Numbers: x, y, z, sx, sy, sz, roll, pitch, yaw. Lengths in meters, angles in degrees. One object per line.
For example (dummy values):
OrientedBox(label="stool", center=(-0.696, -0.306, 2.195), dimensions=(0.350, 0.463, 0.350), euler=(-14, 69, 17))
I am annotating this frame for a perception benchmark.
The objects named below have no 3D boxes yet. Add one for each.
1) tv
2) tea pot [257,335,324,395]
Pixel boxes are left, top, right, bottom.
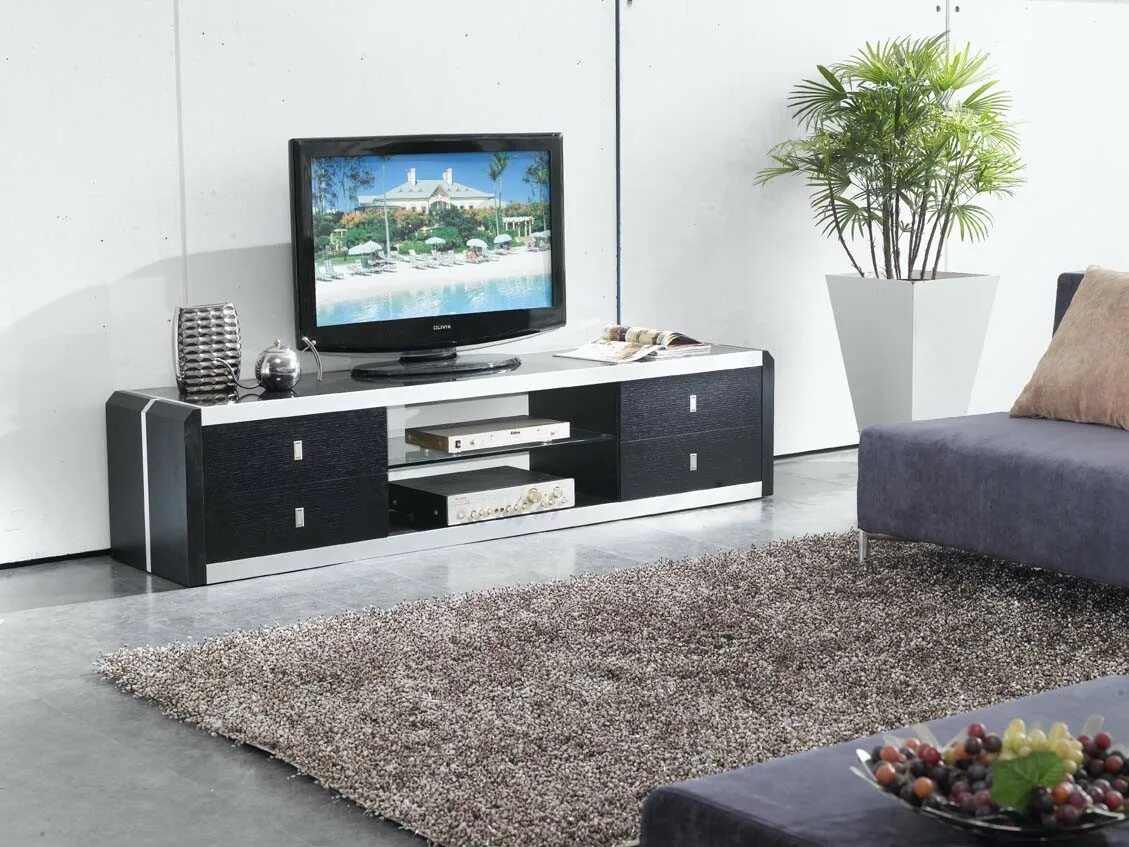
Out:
OrientedBox(label="tv", center=(-0.601, -0.705, 3.979), dimensions=(1.186, 0.797, 0.325), euler=(-7, 12, -31))
OrientedBox(label="tea pot", center=(-1.065, -0.212, 3.779), dimensions=(0.198, 0.190, 0.294), euler=(2, 1, 37))
